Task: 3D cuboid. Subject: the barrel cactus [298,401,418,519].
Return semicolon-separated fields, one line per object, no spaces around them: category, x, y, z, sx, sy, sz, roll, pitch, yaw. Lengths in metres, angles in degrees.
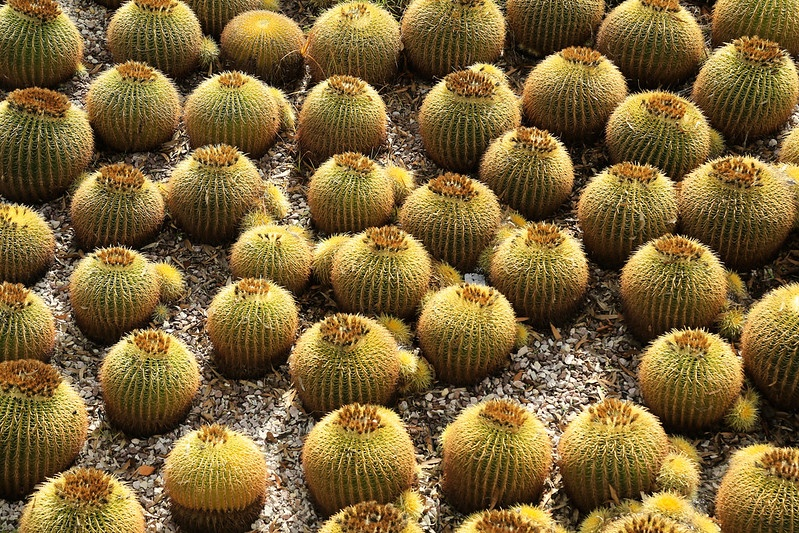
barrel cactus;-0.249;1.333;5.833;0.775;0.781;0.770;-2;15;3

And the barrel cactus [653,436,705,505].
barrel cactus;1.990;1.431;5.812;0.380;0.387;0.371;4;10;5

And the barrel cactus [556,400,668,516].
barrel cactus;1.475;1.327;5.968;0.770;0.778;0.772;-9;14;1

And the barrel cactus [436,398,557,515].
barrel cactus;0.653;1.402;5.782;0.792;0.802;0.783;-2;20;1
